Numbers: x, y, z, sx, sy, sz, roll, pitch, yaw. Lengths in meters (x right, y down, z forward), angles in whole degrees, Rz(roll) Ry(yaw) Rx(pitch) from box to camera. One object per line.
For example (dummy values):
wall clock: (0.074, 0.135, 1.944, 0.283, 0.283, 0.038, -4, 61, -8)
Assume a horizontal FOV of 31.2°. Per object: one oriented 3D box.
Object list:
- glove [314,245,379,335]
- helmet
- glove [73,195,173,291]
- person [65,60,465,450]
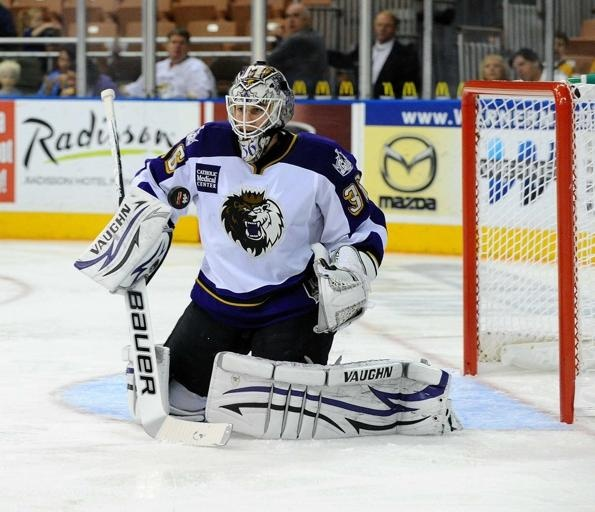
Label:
glove: (0.149, 0.130, 3.657, 0.294, 0.138, 0.219, 36, 18, 36)
helmet: (-0.141, -0.514, 3.786, 0.257, 0.372, 0.342, 4, 12, 16)
glove: (-0.614, -0.022, 3.770, 0.284, 0.373, 0.145, 36, -11, -3)
person: (-0.119, -0.036, 3.826, 1.339, 1.298, 0.742, 2, 5, 11)
